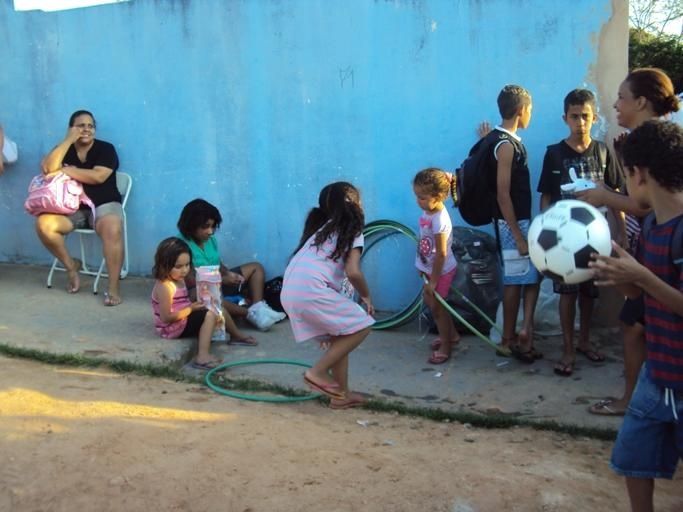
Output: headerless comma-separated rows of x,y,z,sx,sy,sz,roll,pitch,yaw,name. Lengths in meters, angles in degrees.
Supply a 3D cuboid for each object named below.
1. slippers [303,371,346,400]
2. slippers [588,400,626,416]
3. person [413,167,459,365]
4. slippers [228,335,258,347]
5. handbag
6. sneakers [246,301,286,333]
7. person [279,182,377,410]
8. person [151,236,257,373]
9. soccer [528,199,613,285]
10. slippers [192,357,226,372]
-0.105,0.910,4.488,0.341,0.104,0.133,36,4,-21,slippers
1.837,1.038,4.456,0.193,0.057,0.100,1,28,11,slippers
0.789,0.060,5.461,0.432,1.598,0.544,7,11,15,person
-0.871,0.733,5.677,0.234,0.103,0.099,-2,4,1,slippers
-2.813,-0.644,6.508,0.380,0.490,0.520,9,3,26,handbag
-0.710,0.576,6.052,0.315,0.147,0.198,14,40,33,sneakers
-0.091,0.265,4.514,0.648,1.551,0.441,4,10,2,person
-1.217,0.349,5.336,0.717,0.966,0.708,4,10,-2,person
1.396,-0.087,4.038,0.483,0.587,0.515,2,-32,25,soccer
-1.063,0.856,5.106,0.193,0.059,0.108,0,3,10,slippers
